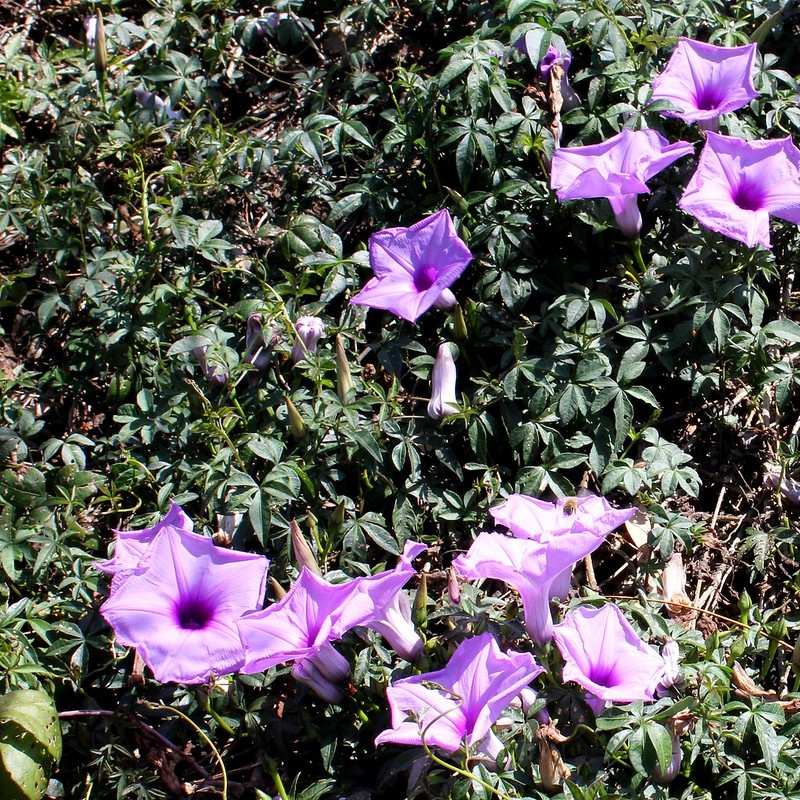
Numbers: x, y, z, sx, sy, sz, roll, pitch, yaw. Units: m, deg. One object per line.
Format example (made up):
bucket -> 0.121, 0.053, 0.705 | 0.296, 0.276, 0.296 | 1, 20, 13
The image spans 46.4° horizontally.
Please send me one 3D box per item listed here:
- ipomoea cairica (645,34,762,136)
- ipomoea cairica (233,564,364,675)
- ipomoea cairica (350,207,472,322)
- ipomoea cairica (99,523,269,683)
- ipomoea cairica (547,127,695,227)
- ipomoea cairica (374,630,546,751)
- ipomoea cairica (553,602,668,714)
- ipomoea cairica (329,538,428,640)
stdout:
ipomoea cairica -> 1.012, -0.985, 2.913 | 0.273, 0.158, 0.250 | -6, 22, -39
ipomoea cairica -> -0.231, 0.516, 2.170 | 0.287, 0.198, 0.154 | -5, 41, -5
ipomoea cairica -> 0.034, -0.387, 2.743 | 0.345, 0.206, 0.348 | 3, 40, 4
ipomoea cairica -> -0.494, 0.504, 2.260 | 0.353, 0.158, 0.379 | 7, 18, -1
ipomoea cairica -> 0.625, -0.660, 2.761 | 0.297, 0.195, 0.279 | 39, 81, 23
ipomoea cairica -> 0.137, 0.694, 2.160 | 0.316, 0.192, 0.309 | -15, 40, 21
ipomoea cairica -> 0.471, 0.599, 2.161 | 0.251, 0.150, 0.204 | 20, 44, 22
ipomoea cairica -> -0.029, 0.464, 2.210 | 0.224, 0.095, 0.224 | -9, 57, 41
